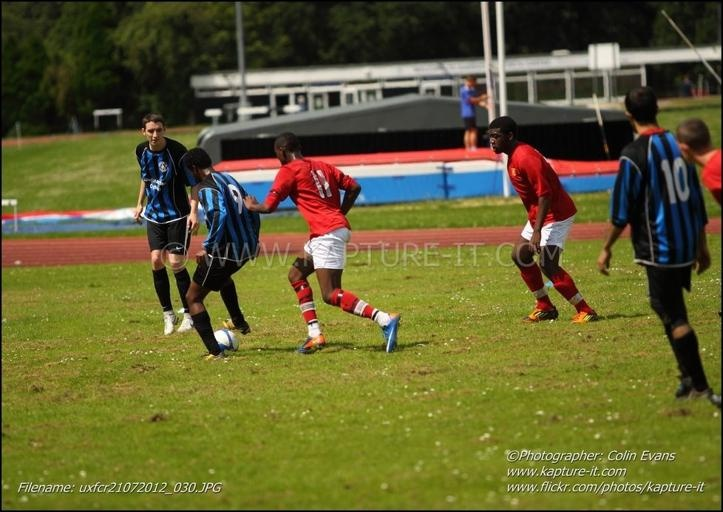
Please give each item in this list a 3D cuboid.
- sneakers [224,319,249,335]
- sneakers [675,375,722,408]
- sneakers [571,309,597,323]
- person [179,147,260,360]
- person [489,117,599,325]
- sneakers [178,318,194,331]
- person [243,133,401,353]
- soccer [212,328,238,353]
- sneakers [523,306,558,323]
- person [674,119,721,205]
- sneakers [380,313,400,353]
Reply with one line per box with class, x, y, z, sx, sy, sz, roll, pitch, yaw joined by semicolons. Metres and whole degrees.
sneakers;-1.558;0.846;12.163;0.377;0.135;0.172;15;16;20
sneakers;3.182;1.304;9.558;0.179;0.235;0.521;-12;8;-31
sneakers;2.668;0.726;11.960;0.360;0.158;0.120;-4;1;-2
person;-1.579;-0.066;11.388;0.870;2.328;0.787;-5;15;-7
person;2.138;-0.414;11.872;1.166;2.474;0.659;-2;15;6
sneakers;-2.202;0.875;12.599;0.193;0.147;0.353;-2;1;9
person;-0.427;-0.149;11.356;1.529;2.493;0.931;-2;15;5
soccer;-1.574;0.981;11.586;0.240;0.232;0.240;13;-13;-13
sneakers;2.175;0.717;12.239;0.444;0.211;0.157;-2;40;4
person;3.292;-0.904;9.529;0.384;0.821;0.578;-13;17;-33
sneakers;0.333;0.834;11.280;0.231;0.459;0.159;-1;21;1
